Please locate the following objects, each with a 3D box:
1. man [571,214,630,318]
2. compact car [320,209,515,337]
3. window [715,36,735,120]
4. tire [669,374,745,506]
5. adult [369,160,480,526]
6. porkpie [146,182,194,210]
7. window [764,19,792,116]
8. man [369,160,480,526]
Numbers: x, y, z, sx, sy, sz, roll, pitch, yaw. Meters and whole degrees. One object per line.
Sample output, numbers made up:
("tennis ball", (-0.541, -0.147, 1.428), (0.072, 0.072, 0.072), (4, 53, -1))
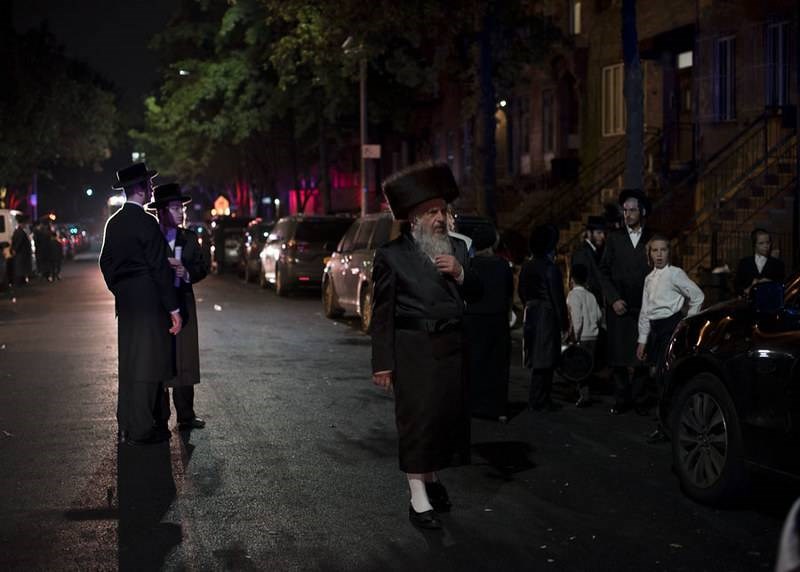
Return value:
("man", (2.519, -0.042, 10.378), (0.582, 1.597, 0.459), (1, -4, -11))
("compact car", (-0.280, -0.317, 16.918), (2.169, 2.000, 3.876), (-2, 10, -19))
("window", (8.424, -5.357, 20.739), (0.144, 2.153, 0.607), (-3, 5, -28))
("tire", (2.432, 1.223, 6.311), (0.247, 0.842, 0.793), (7, -20, -17))
("adult", (0.188, 0.237, 6.034), (0.810, 2.328, 0.382), (0, 4, 7))
("porkpie", (-2.426, -0.958, 8.558), (0.298, 0.137, 0.356), (-9, -2, 18))
("window", (9.098, -5.384, 19.318), (0.640, 2.027, 0.285), (3, 5, 36))
("man", (0.188, 0.237, 6.034), (0.810, 2.328, 0.382), (0, 4, 7))
